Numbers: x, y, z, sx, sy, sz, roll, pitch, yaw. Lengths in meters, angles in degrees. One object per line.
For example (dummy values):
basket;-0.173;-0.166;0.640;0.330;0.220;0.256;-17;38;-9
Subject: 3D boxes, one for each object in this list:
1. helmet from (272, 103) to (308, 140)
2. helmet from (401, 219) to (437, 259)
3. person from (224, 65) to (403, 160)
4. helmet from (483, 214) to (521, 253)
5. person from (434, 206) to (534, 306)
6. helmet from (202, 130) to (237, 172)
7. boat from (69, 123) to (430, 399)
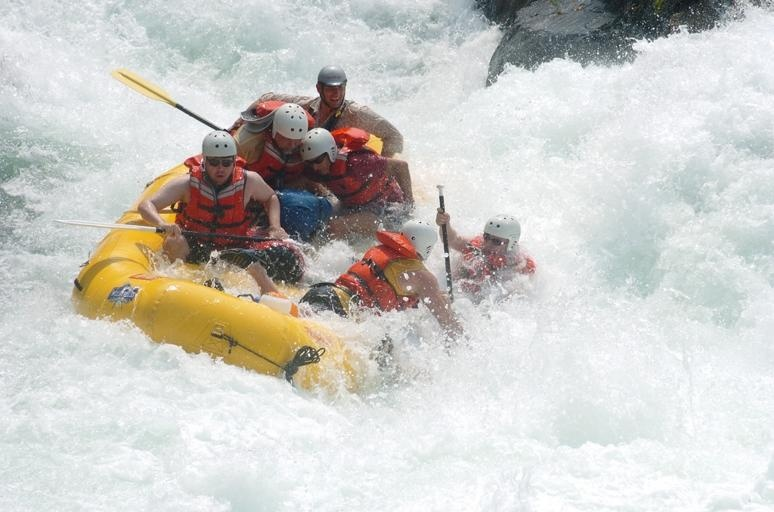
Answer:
helmet;-1.252;-1.747;10.328;0.402;0.409;0.485;9;58;-12
helmet;0.413;-0.229;9.596;0.381;0.490;0.417;33;97;17
person;-1.214;-2.186;11.888;2.402;1.104;1.102;14;34;-9
helmet;1.562;-0.315;10.313;0.490;0.461;0.385;29;72;-27
person;1.354;-0.017;10.297;1.047;0.493;1.413;33;36;17
helmet;-1.961;-1.255;9.133;0.379;0.451;0.390;0;102;-15
boat;-1.990;0.349;8.831;2.467;1.272;3.192;-26;67;-20
